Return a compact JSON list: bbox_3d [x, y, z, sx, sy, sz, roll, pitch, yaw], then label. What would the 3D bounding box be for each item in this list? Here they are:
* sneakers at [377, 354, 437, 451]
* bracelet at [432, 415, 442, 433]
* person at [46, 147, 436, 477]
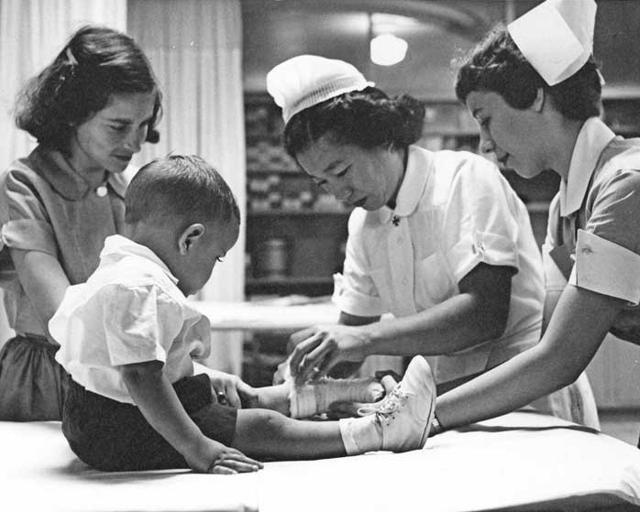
[{"bbox_3d":[0.186,0.325,3.233,0.109,0.244,0.084,12,-3,-22],"label":"sneakers"},{"bbox_3d":[0.258,0.370,3.217,0.033,0.033,0.025,-11,-1,-7],"label":"bracelet"},{"bbox_3d":[-0.238,0.126,3.155,0.803,0.587,0.623,0,-4,-20],"label":"person"}]
